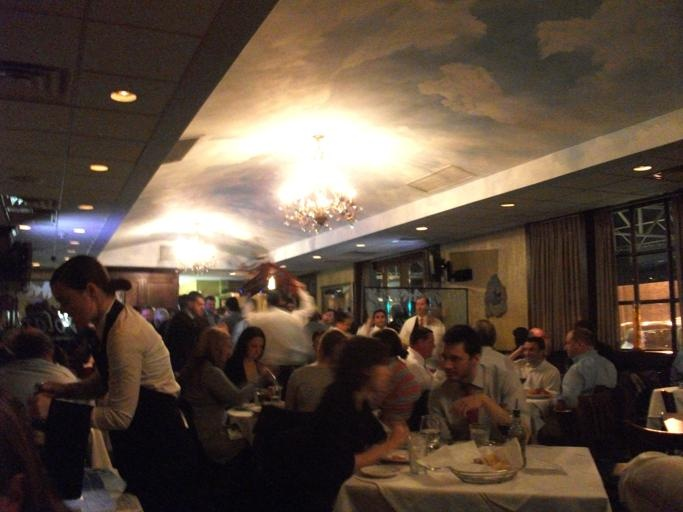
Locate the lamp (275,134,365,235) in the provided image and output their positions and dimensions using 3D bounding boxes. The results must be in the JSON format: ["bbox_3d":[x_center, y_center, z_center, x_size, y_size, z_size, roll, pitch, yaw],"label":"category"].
[{"bbox_3d":[-0.319,-0.777,7.300,1.138,1.351,1.083,19,-25,-40],"label":"lamp"}]

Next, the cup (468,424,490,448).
[{"bbox_3d":[0.748,0.970,2.868,0.097,0.096,0.103,-1,-11,0],"label":"cup"}]

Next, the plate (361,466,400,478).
[{"bbox_3d":[0.192,1.079,2.664,0.092,0.015,0.090,0,-5,20],"label":"plate"}]

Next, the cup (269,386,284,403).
[{"bbox_3d":[-0.540,1.129,4.339,0.115,0.099,0.229,5,28,-12],"label":"cup"}]
